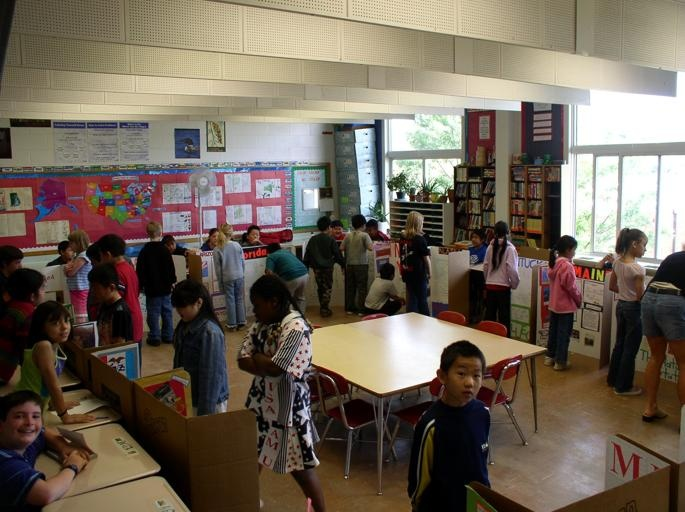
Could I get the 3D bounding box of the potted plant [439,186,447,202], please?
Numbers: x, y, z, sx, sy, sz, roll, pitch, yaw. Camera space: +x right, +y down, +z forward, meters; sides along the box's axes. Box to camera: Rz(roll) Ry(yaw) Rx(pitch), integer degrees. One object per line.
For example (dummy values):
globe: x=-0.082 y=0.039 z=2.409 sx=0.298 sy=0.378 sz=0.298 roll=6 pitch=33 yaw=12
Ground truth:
potted plant: x=2.391 y=-1.443 z=12.047 sx=0.201 sy=0.323 sz=0.655 roll=1 pitch=11 yaw=11

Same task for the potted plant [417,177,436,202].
potted plant: x=2.029 y=-1.586 z=12.215 sx=0.463 sy=0.536 sz=0.506 roll=0 pitch=1 yaw=31

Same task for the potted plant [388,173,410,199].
potted plant: x=1.380 y=-1.792 z=12.721 sx=0.543 sy=0.712 sz=0.646 roll=-3 pitch=11 yaw=-6

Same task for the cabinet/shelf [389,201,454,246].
cabinet/shelf: x=1.799 y=-0.732 z=11.062 sx=0.321 sy=1.012 sz=0.991 roll=-5 pitch=8 yaw=-38

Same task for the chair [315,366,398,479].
chair: x=0.094 y=1.542 z=4.937 sx=0.576 sy=0.945 sz=0.670 roll=2 pitch=5 yaw=44

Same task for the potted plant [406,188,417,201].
potted plant: x=1.738 y=-1.499 z=12.502 sx=0.271 sy=0.296 sz=0.287 roll=1 pitch=-1 yaw=34

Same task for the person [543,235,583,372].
person: x=3.011 y=0.635 z=6.931 sx=0.413 sy=1.832 sz=0.508 roll=2 pitch=10 yaw=21

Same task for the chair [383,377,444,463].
chair: x=0.659 y=1.517 z=4.851 sx=0.560 sy=0.807 sz=0.556 roll=9 pitch=-1 yaw=21

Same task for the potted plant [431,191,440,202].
potted plant: x=2.190 y=-1.377 z=12.012 sx=0.228 sy=0.230 sz=0.372 roll=0 pitch=11 yaw=5

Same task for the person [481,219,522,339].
person: x=2.435 y=0.400 z=7.735 sx=0.563 sy=1.915 sz=0.555 roll=13 pitch=24 yaw=42
